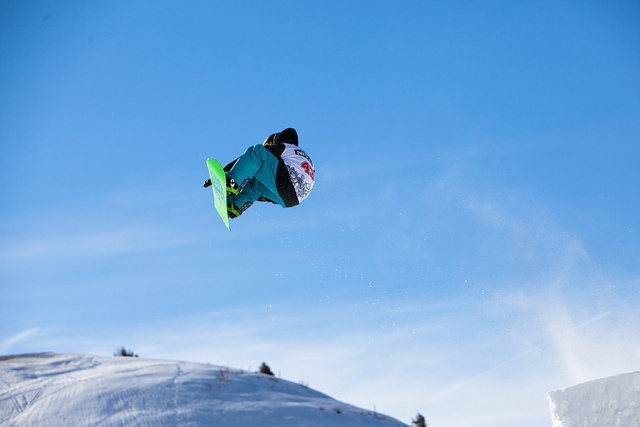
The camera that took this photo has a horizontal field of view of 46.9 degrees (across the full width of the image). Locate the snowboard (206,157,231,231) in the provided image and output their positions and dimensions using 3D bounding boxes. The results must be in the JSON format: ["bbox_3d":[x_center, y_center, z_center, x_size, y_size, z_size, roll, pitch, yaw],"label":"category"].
[{"bbox_3d":[-1.986,-0.516,14.770,0.214,0.389,1.568,-9,-58,-34],"label":"snowboard"}]

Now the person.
[{"bbox_3d":[-1.307,-0.793,15.848,1.185,1.594,0.950,12,-60,31],"label":"person"}]
